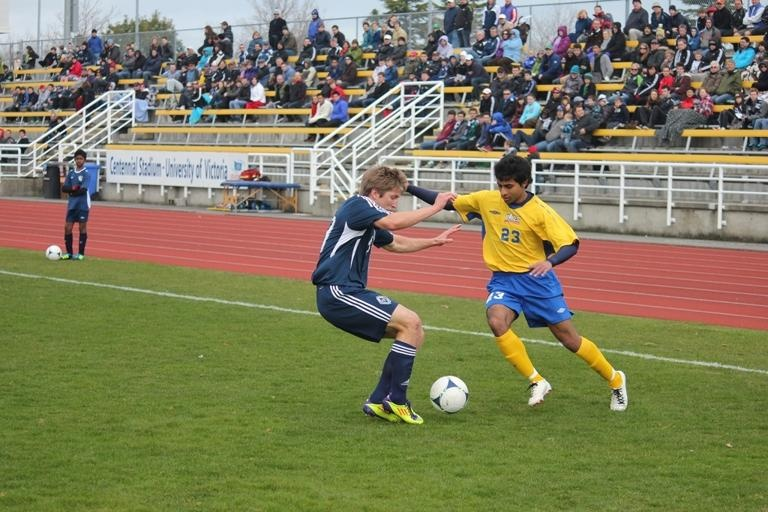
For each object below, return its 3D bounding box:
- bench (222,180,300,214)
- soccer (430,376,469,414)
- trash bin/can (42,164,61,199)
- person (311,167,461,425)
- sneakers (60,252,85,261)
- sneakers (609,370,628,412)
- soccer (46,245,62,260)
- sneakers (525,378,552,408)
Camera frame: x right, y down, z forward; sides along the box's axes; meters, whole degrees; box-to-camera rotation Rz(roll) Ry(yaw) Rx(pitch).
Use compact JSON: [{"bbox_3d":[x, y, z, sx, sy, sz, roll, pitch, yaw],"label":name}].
[{"bbox_3d":[-3.344,-1.682,31.436,1.482,0.501,1.244,1,-1,-19],"label":"bench"},{"bbox_3d":[0.825,1.703,14.210,0.514,0.410,0.462,2,1,8],"label":"soccer"},{"bbox_3d":[-9.993,-2.235,34.407,0.538,1.028,0.467,1,6,-9],"label":"trash bin/can"},{"bbox_3d":[-0.095,0.456,14.183,1.576,3.149,0.633,1,6,-2],"label":"person"},{"bbox_3d":[-5.803,0.013,21.320,0.429,0.145,0.143,6,-2,-13],"label":"sneakers"},{"bbox_3d":[3.005,1.690,14.491,0.226,0.475,0.270,3,6,10],"label":"sneakers"},{"bbox_3d":[-6.138,-0.060,21.151,0.319,0.253,0.273,-3,-2,2],"label":"soccer"},{"bbox_3d":[1.945,1.713,14.369,0.175,0.221,0.457,-46,-2,43],"label":"sneakers"}]
